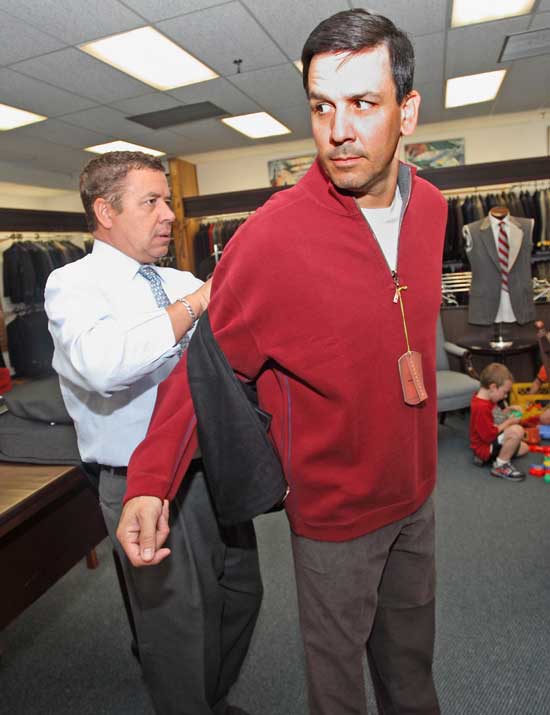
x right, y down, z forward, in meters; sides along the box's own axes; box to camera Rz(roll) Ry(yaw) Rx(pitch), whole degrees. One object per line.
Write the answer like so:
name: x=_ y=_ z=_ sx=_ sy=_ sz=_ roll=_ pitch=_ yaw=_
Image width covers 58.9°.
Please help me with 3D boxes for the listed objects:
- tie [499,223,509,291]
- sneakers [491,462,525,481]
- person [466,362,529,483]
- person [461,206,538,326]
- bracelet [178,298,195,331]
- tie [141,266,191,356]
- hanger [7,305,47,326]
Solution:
tie: x=2.226 y=-1.003 z=4.735 sx=0.098 sy=0.671 sz=0.141 roll=-3 pitch=7 yaw=21
sneakers: x=1.538 y=0.740 z=3.213 sx=0.206 sy=0.101 sz=0.082 roll=2 pitch=7 yaw=24
person: x=1.613 y=0.491 z=3.541 sx=0.447 sy=0.844 sz=0.743 roll=-3 pitch=-1 yaw=8
person: x=2.257 y=-0.907 z=4.864 sx=0.656 sy=1.152 sz=0.373 roll=-3 pitch=7 yaw=12
bracelet: x=-0.205 y=-0.116 z=1.157 sx=0.012 sy=0.049 sz=0.052 roll=-23 pitch=57 yaw=2
tie: x=-0.301 y=-0.162 z=1.502 sx=0.091 sy=0.243 sz=0.185 roll=-28 pitch=39 yaw=-28
hanger: x=-3.242 y=-0.550 z=6.330 sx=0.522 sy=0.368 sz=0.499 roll=-3 pitch=-1 yaw=-21
